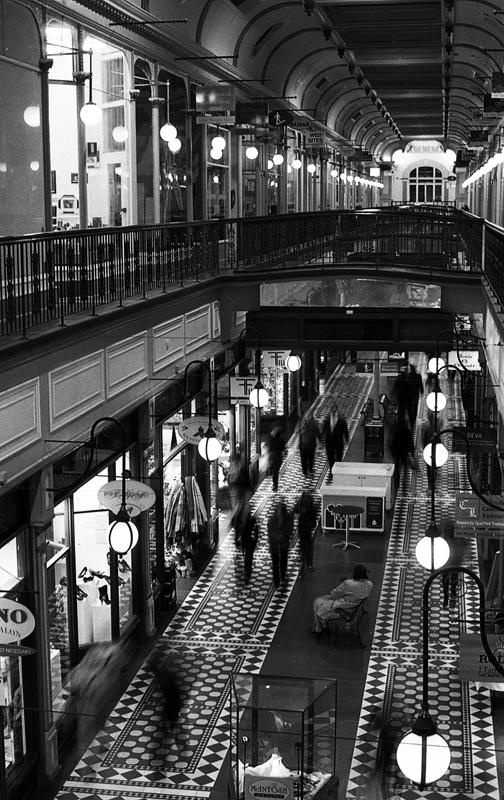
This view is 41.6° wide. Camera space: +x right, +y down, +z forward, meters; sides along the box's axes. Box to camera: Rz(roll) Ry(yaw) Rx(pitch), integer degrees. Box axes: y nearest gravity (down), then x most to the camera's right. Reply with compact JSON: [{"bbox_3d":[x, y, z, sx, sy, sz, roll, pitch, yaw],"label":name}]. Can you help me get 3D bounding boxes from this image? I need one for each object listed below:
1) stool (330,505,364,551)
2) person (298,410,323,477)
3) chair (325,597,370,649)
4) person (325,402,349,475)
[{"bbox_3d":[1.814,2.354,12.354,0.590,0.797,0.634,0,5,36],"label":"stool"},{"bbox_3d":[1.370,1.134,15.889,0.388,1.579,0.492,0,18,2],"label":"person"},{"bbox_3d":[1.334,3.070,9.186,0.388,0.807,0.512,3,4,11],"label":"chair"},{"bbox_3d":[2.008,1.036,16.404,0.581,2.162,0.474,5,29,10],"label":"person"}]
